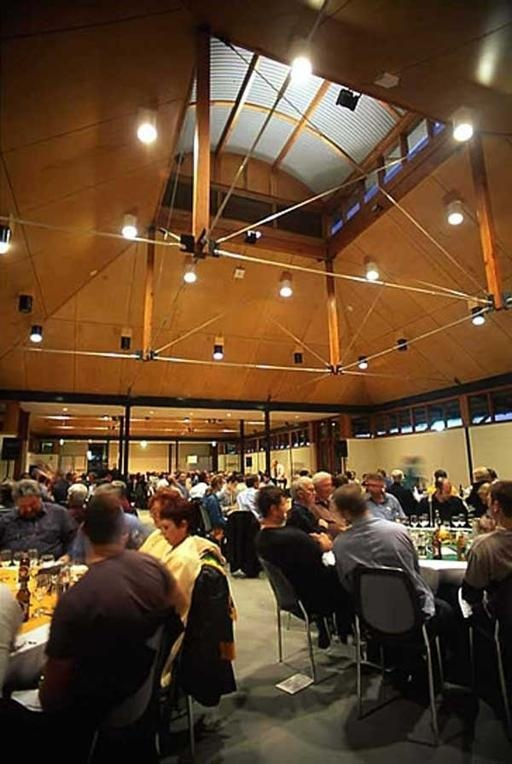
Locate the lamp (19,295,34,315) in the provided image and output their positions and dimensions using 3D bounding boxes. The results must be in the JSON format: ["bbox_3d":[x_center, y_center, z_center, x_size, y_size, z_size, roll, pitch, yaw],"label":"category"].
[{"bbox_3d":[-3.450,-1.164,7.818,0.211,0.298,0.161,7,-45,-16],"label":"lamp"}]

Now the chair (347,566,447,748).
[{"bbox_3d":[0.759,1.413,2.943,0.503,0.865,0.708,-6,-4,16],"label":"chair"}]

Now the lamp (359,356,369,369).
[{"bbox_3d":[2.284,-0.416,11.096,0.210,0.254,0.216,6,-11,-9],"label":"lamp"}]

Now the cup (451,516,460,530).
[{"bbox_3d":[1.875,1.318,4.892,0.076,0.130,0.078,2,-14,0],"label":"cup"}]

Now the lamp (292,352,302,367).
[{"bbox_3d":[0.903,-0.505,11.487,0.223,0.233,0.416,1,-28,-6],"label":"lamp"}]

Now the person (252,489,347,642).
[{"bbox_3d":[0.259,1.276,3.495,0.524,1.203,0.453,-10,7,-35],"label":"person"}]
